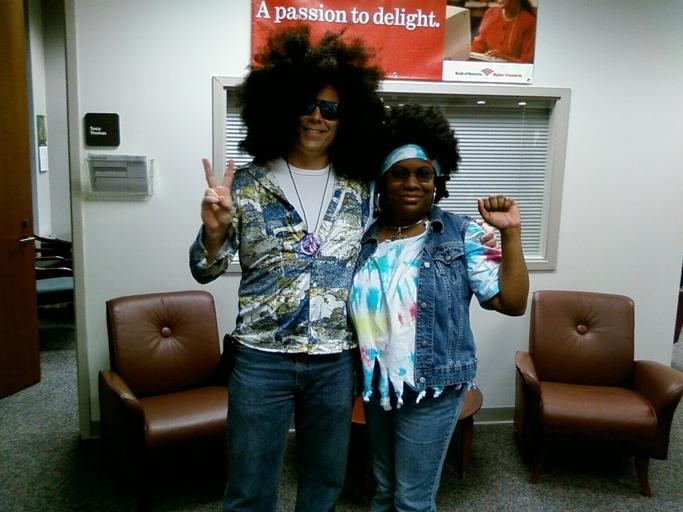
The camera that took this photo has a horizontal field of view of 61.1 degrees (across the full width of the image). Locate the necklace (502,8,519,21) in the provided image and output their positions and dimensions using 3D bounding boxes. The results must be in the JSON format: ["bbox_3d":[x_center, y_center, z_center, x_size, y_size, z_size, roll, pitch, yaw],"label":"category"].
[{"bbox_3d":[1.219,-1.729,4.155,0.088,0.069,0.088,0,4,-20],"label":"necklace"}]

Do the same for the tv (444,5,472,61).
[{"bbox_3d":[0.829,-1.609,4.134,0.147,0.268,0.276,-13,27,-14],"label":"tv"}]
